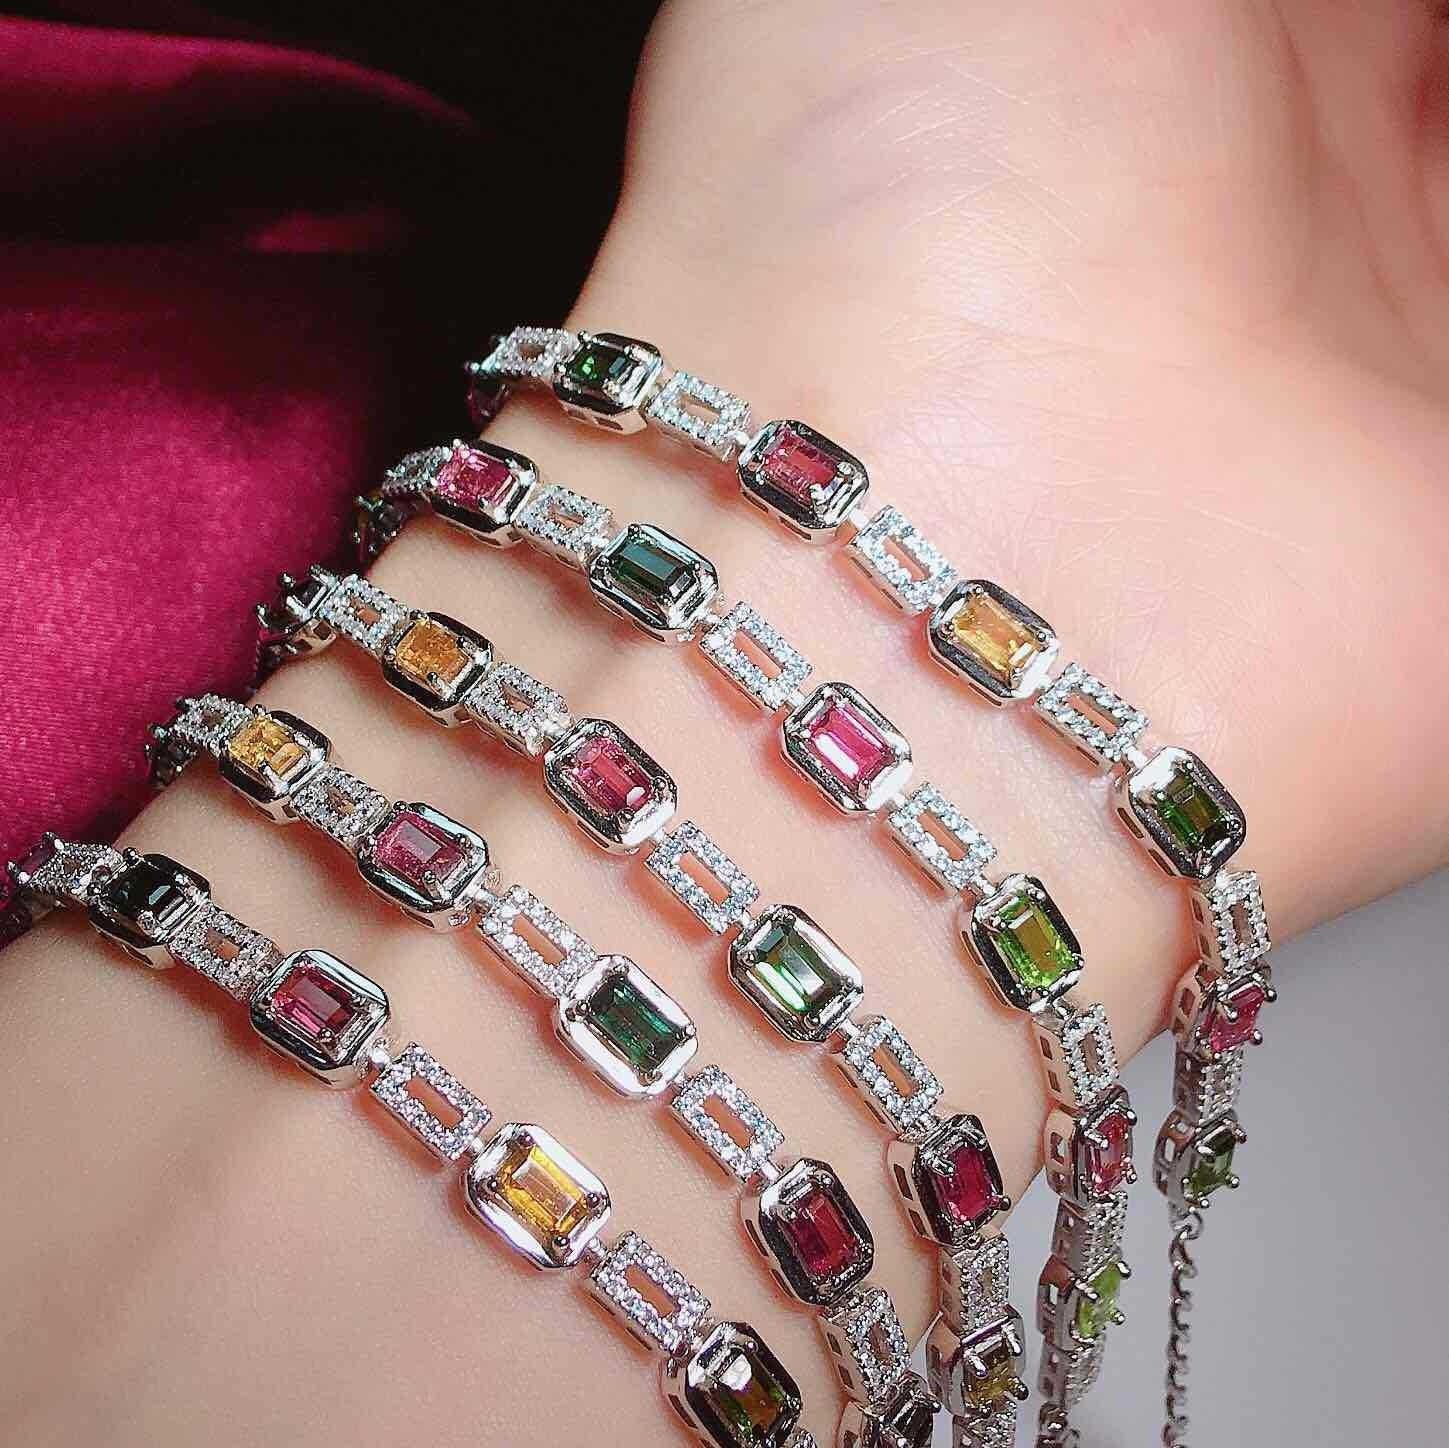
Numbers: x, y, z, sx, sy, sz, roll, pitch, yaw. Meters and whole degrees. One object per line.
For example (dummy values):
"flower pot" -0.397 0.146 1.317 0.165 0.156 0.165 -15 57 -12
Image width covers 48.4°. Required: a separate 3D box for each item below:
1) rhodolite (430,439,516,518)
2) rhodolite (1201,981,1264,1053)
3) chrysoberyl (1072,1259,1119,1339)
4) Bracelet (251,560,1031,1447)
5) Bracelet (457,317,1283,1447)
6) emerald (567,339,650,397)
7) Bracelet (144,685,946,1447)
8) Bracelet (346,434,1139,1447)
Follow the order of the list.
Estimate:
"rhodolite" -0.165 -0.157 1.058 0.058 0.057 0.040 17 83 4
"rhodolite" 0.345 0.199 1.103 0.047 0.048 0.017 -46 44 6
"chrysoberyl" 0.260 0.398 1.116 0.051 0.018 0.052 -19 117 -38
"Bracelet" -0.047 0.179 0.968 0.672 0.152 0.119 44 53 7
"Bracelet" 0.205 0.081 1.251 0.507 0.198 0.843 -40 88 6
"emerald" -0.078 -0.237 1.083 0.053 0.020 0.037 9 71 13
"Bracelet" -0.105 0.214 0.946 0.550 0.244 0.067 40 48 6
"Bracelet" 0.006 0.172 1.175 0.453 0.135 0.750 -36 89 -24
